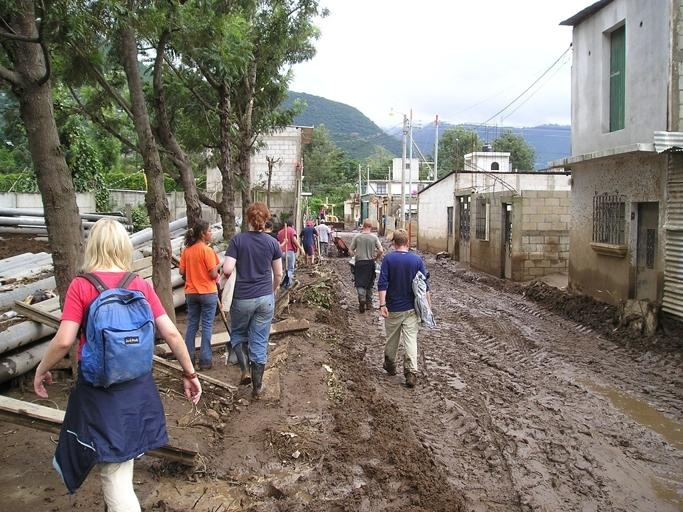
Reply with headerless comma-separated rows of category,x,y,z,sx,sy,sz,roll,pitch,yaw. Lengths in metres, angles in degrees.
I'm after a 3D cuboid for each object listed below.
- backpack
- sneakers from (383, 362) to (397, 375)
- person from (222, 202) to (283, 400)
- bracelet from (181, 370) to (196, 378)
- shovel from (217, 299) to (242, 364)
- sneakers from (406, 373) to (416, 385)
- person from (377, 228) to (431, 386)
backpack,-1.883,0.626,4.852,0.581,0.919,0.294,-1,8,-7
sneakers,0.754,1.784,9.220,0.225,0.248,0.130,-4,2,-4
person,-1.103,0.735,7.306,0.694,2.056,0.467,-2,8,-8
bracelet,-1.409,1.104,5.321,0.111,0.044,0.087,11,2,-7
shovel,-1.649,0.994,8.296,0.236,1.133,0.759,-13,8,-11
sneakers,1.015,1.851,8.717,0.143,0.165,0.159,2,-33,-2
person,0.922,0.769,8.900,0.756,2.324,0.793,-1,8,-1
